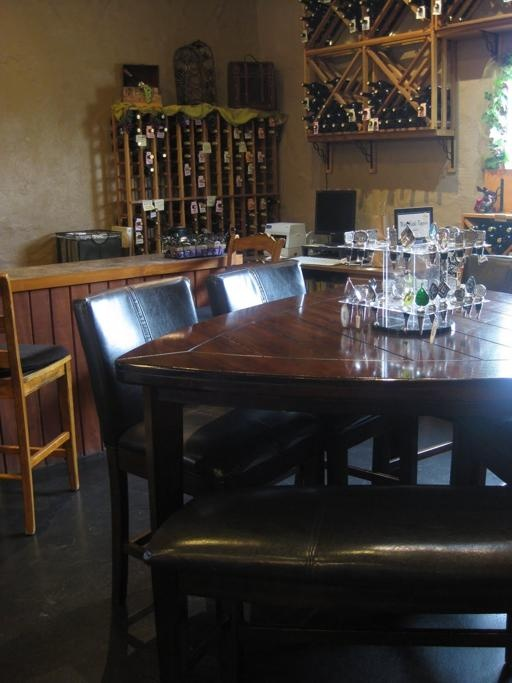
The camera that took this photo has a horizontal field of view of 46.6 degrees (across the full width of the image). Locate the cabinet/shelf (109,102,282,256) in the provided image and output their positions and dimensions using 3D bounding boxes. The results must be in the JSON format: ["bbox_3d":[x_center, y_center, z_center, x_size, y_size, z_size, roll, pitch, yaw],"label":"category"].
[{"bbox_3d":[-0.519,-1.541,5.590,1.673,1.289,0.556,-13,15,-35],"label":"cabinet/shelf"}]

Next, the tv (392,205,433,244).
[{"bbox_3d":[1.118,-0.852,4.237,0.242,0.195,0.420,-1,12,18],"label":"tv"}]

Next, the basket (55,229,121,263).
[{"bbox_3d":[-1.392,-0.822,5.039,0.521,0.245,0.476,-11,14,-29],"label":"basket"}]

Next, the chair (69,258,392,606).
[{"bbox_3d":[-0.046,0.149,2.370,1.034,1.550,0.980,3,9,35],"label":"chair"}]

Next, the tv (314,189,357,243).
[{"bbox_3d":[0.682,-1.084,5.147,0.248,0.456,0.517,-12,14,-28],"label":"tv"}]
